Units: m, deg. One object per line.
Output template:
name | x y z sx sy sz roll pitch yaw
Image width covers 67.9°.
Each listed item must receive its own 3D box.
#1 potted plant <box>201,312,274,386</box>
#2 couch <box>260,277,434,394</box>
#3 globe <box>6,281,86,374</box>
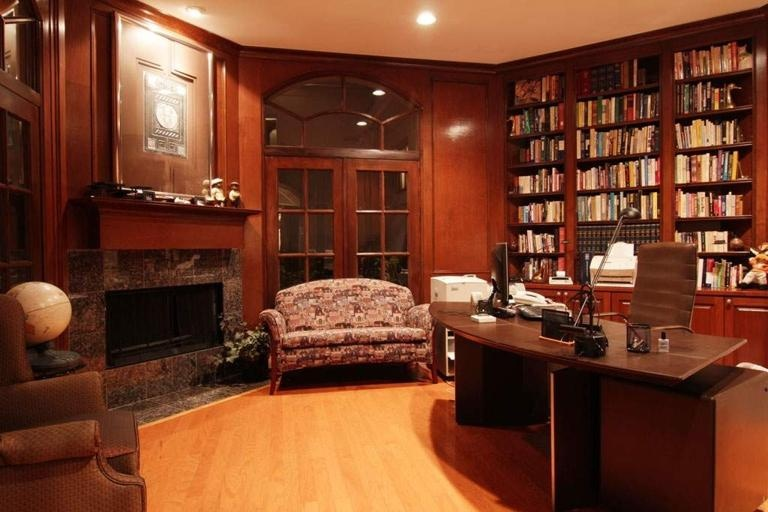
potted plant | -1.573 0.988 6.119 0.565 0.655 0.586 -9 12 -31
couch | -0.393 0.848 6.132 1.745 1.040 0.896 -4 11 -9
globe | -2.445 0.550 4.522 0.626 0.706 0.631 3 8 -8
